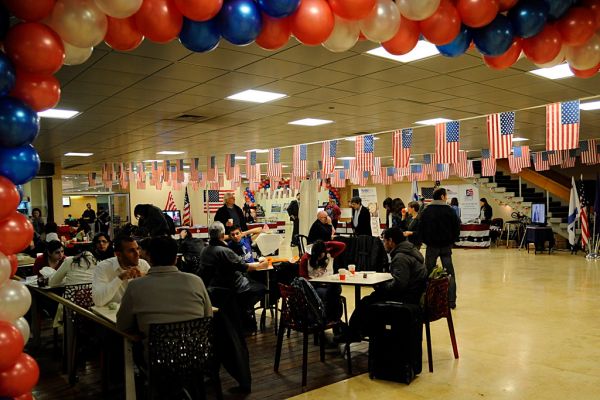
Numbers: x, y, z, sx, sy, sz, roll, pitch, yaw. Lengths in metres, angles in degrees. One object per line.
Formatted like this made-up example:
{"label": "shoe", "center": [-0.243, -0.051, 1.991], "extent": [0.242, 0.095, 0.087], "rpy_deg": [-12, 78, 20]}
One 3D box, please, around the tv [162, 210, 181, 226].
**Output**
{"label": "tv", "center": [-3.923, 0.597, 12.637], "extent": [0.068, 0.483, 0.626], "rpy_deg": [-8, -9, 37]}

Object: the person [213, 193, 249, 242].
{"label": "person", "center": [-1.453, 0.567, 8.808], "extent": [0.733, 1.331, 0.461], "rpy_deg": [-10, 10, -31]}

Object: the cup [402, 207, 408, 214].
{"label": "cup", "center": [2.846, 0.329, 11.155], "extent": [0.175, 0.098, 0.189], "rpy_deg": [-3, -2, 0]}

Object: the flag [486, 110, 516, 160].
{"label": "flag", "center": [4.318, -1.378, 8.845], "extent": [0.527, 1.003, 0.647], "rpy_deg": [-1, 1, 34]}

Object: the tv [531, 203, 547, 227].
{"label": "tv", "center": [8.820, 0.615, 15.114], "extent": [0.270, 0.788, 0.763], "rpy_deg": [2, -5, -9]}

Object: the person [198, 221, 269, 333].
{"label": "person", "center": [-0.921, 1.116, 6.134], "extent": [0.927, 1.566, 0.754], "rpy_deg": [-5, 8, -21]}

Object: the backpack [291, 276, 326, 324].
{"label": "backpack", "center": [0.116, 1.226, 4.938], "extent": [0.389, 0.559, 0.248], "rpy_deg": [-1, 1, 1]}

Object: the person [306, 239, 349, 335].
{"label": "person", "center": [0.315, 1.187, 5.916], "extent": [0.522, 1.307, 0.699], "rpy_deg": [-13, 16, -32]}

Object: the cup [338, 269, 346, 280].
{"label": "cup", "center": [0.567, 1.024, 5.516], "extent": [0.108, 0.113, 0.112], "rpy_deg": [-1, -6, 0]}

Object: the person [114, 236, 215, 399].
{"label": "person", "center": [-1.218, 0.870, 3.737], "extent": [0.828, 1.044, 0.334], "rpy_deg": [-2, 1, -26]}

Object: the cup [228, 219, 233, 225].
{"label": "cup", "center": [-1.354, 0.451, 8.066], "extent": [0.112, 0.126, 0.115], "rpy_deg": [-1, -2, 0]}

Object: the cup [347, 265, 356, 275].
{"label": "cup", "center": [0.749, 1.028, 5.908], "extent": [0.124, 0.163, 0.128], "rpy_deg": [-1, -6, 0]}

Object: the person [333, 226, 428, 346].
{"label": "person", "center": [1.106, 1.150, 5.496], "extent": [1.129, 1.485, 0.843], "rpy_deg": [0, -4, 23]}

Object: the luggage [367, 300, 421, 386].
{"label": "luggage", "center": [1.131, 1.667, 4.846], "extent": [0.611, 0.874, 0.299], "rpy_deg": [-1, 1, 13]}

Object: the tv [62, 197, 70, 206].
{"label": "tv", "center": [-14.965, 0.185, 26.290], "extent": [0.282, 0.541, 0.571], "rpy_deg": [-1, -1, 28]}

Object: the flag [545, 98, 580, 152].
{"label": "flag", "center": [5.261, -1.468, 8.214], "extent": [0.578, 0.961, 0.463], "rpy_deg": [0, 1, 41]}

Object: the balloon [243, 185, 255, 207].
{"label": "balloon", "center": [-2.942, -0.049, 24.352], "extent": [0.697, 1.289, 0.760], "rpy_deg": [-11, 1, -11]}

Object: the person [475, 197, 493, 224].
{"label": "person", "center": [7.682, 0.804, 16.967], "extent": [0.497, 1.807, 0.558], "rpy_deg": [-27, 25, -37]}

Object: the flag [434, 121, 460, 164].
{"label": "flag", "center": [3.527, -1.351, 9.786], "extent": [0.523, 1.003, 0.467], "rpy_deg": [-1, 1, 18]}

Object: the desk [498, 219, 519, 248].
{"label": "desk", "center": [9.039, 1.422, 17.526], "extent": [0.601, 1.013, 0.670], "rpy_deg": [-4, 13, 0]}

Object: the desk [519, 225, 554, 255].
{"label": "desk", "center": [8.660, 1.437, 14.670], "extent": [0.751, 0.660, 0.791], "rpy_deg": [0, 0, 11]}

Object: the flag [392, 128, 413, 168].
{"label": "flag", "center": [2.736, -1.338, 10.867], "extent": [0.448, 1.023, 0.573], "rpy_deg": [-2, 1, -23]}
